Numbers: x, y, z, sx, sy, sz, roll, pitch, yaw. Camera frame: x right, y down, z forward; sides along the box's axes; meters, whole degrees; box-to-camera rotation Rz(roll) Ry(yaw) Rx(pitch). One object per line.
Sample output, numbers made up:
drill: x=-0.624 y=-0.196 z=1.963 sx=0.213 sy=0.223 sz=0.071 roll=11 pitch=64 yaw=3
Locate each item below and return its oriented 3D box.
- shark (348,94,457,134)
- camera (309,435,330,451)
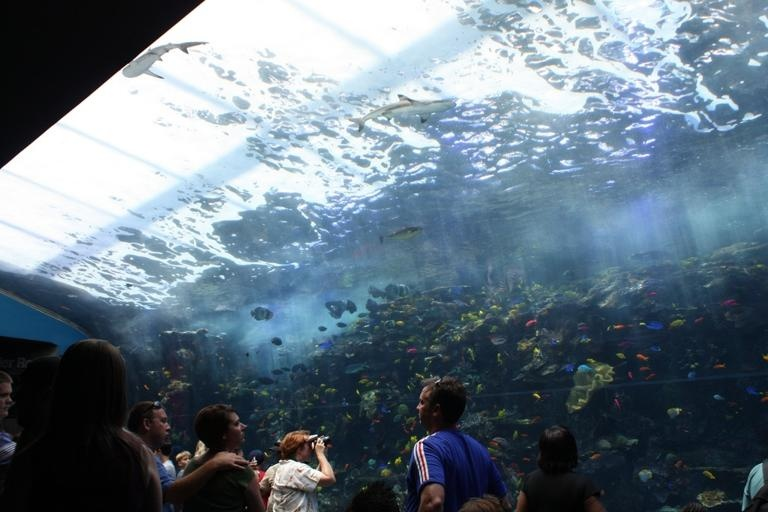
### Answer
shark: x=1.205 y=-6.052 z=20.072 sx=4.345 sy=1.491 sz=1.836 roll=-18 pitch=-12 yaw=-35
camera: x=-1.707 y=4.979 z=13.754 sx=0.635 sy=0.343 sz=0.207 roll=1 pitch=-47 yaw=-6
